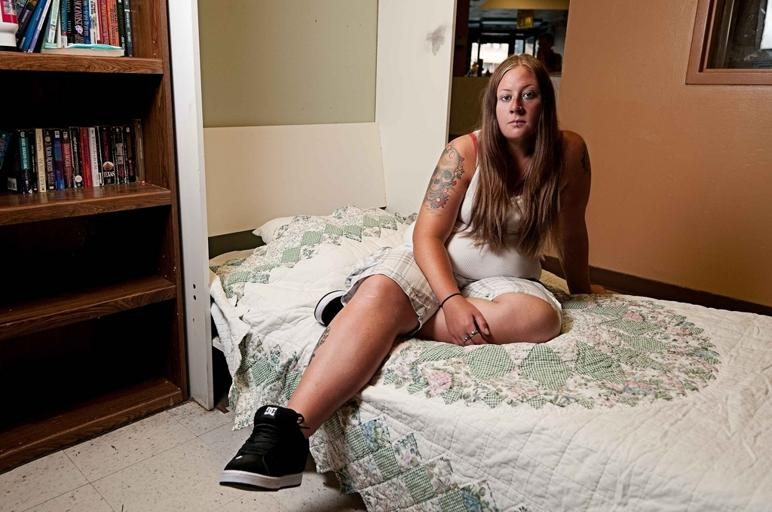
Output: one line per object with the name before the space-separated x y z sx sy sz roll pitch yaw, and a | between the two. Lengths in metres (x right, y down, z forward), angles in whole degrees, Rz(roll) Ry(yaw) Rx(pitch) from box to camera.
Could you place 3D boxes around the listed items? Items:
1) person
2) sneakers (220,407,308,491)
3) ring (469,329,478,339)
person | 0.259 -0.069 1.937 0.805 1.080 1.955 18 34 32
sneakers | -0.342 0.581 1.474 0.143 0.203 0.348 2 -18 23
ring | 0.292 0.260 1.642 0.028 0.009 0.028 -37 -7 -5
